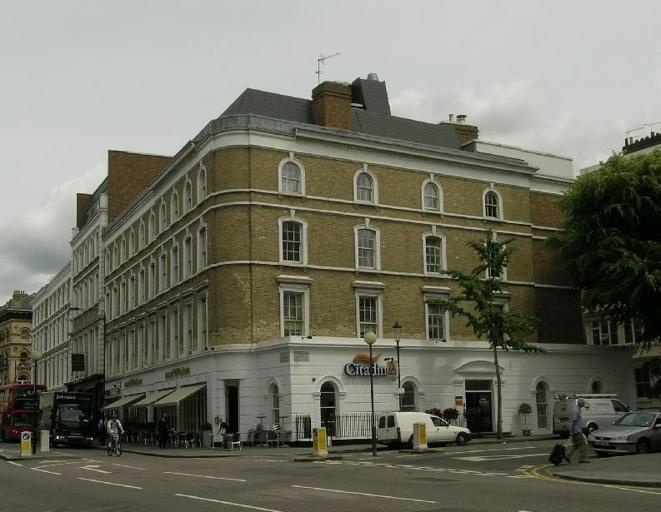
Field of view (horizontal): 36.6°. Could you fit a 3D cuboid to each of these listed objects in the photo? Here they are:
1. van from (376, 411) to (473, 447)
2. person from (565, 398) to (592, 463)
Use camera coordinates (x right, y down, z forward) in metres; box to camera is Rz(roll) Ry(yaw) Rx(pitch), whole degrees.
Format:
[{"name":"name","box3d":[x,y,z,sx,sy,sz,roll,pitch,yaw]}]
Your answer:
[{"name":"van","box3d":[4.736,8.604,49.268,4.538,1.569,2.005,4,-14,-29]},{"name":"person","box3d":[9.601,6.704,38.661,0.980,2.394,0.925,15,-15,-28]}]
